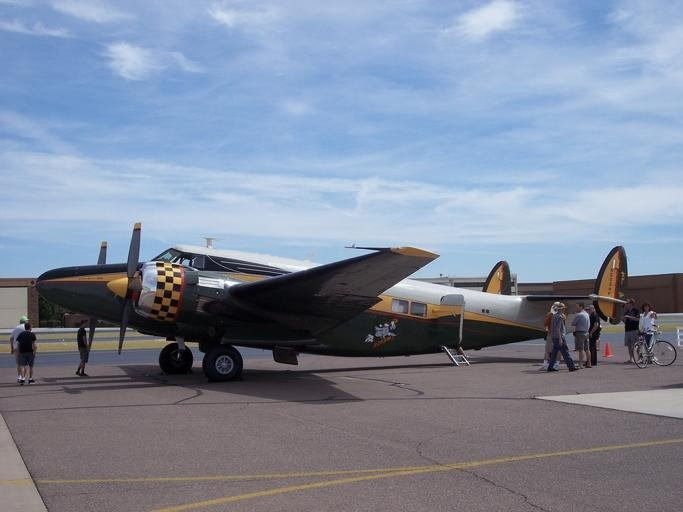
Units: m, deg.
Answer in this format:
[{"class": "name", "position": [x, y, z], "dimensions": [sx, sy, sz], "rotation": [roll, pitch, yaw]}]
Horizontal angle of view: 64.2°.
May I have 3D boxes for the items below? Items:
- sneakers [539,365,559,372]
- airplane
[{"class": "sneakers", "position": [7.101, 3.750, 18.127], "dimensions": [0.868, 0.206, 0.206], "rotation": [-1, -11, -8]}, {"class": "airplane", "position": [-0.633, 1.490, 15.761], "dimensions": [9.987, 1.762, 10.238], "rotation": [4, -3, -24]}]
